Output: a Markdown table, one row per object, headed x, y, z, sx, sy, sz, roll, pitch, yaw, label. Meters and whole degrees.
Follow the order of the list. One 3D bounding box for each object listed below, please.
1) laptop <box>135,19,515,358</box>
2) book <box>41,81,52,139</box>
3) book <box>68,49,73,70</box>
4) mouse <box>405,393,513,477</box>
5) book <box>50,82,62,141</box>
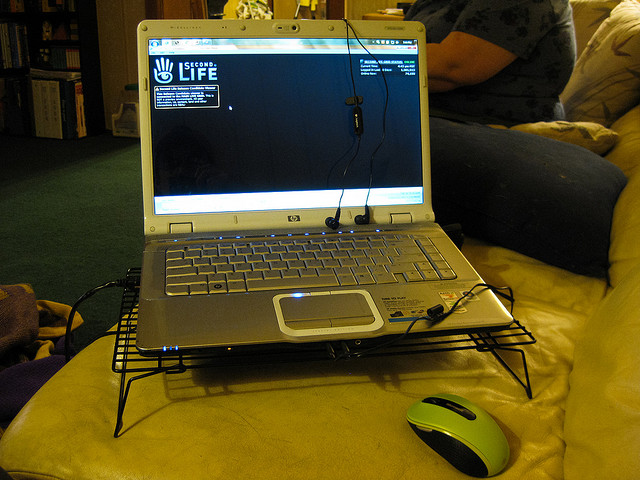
| x | y | z | sx | sy | sz | roll | pitch | yaw | label |
| --- | --- | --- | --- | --- | --- | --- | --- | --- | --- |
| -0.022 | -0.109 | 0.784 | 0.566 | 0.350 | 0.464 | -1 | 34 | -7 | laptop |
| -1.987 | -0.927 | 3.622 | 0.020 | 0.409 | 0.091 | 8 | 16 | 14 | book |
| -1.876 | -1.352 | 3.766 | 0.031 | 0.138 | 0.020 | 11 | 29 | 14 | book |
| 0.173 | 0.233 | 0.654 | 0.078 | 0.038 | 0.125 | -25 | 47 | -36 | mouse |
| -1.903 | -0.928 | 3.631 | 0.104 | 0.410 | 0.040 | 17 | 23 | 22 | book |
